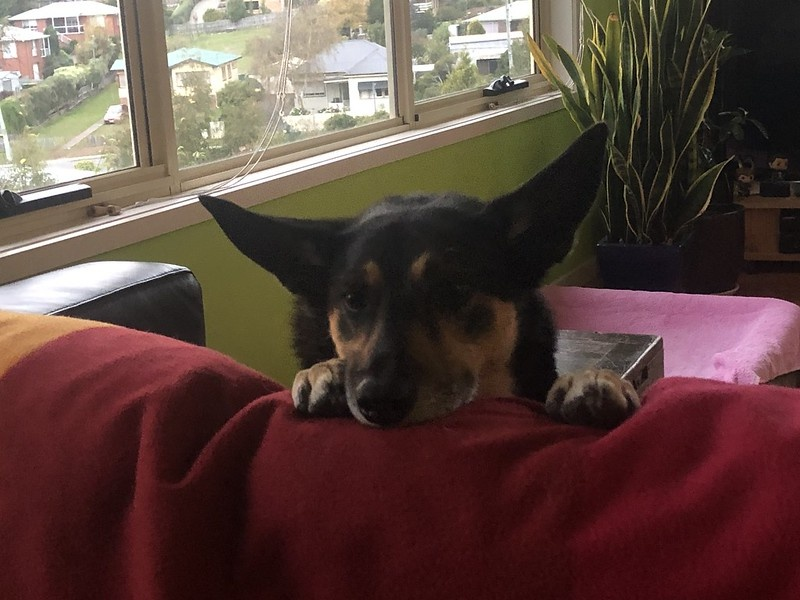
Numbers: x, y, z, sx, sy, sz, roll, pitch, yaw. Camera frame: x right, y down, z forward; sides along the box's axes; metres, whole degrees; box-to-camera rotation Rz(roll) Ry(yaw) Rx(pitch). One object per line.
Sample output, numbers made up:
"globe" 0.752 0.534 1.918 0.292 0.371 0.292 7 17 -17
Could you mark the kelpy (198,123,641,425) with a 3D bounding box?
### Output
"kelpy" 0.026 0.013 0.608 0.290 0.202 0.328 -3 -4 8
